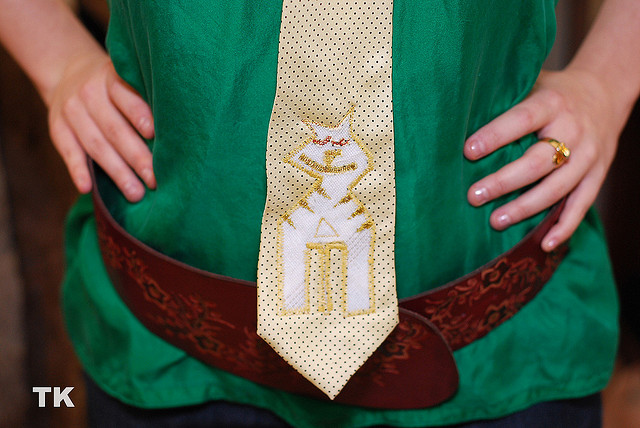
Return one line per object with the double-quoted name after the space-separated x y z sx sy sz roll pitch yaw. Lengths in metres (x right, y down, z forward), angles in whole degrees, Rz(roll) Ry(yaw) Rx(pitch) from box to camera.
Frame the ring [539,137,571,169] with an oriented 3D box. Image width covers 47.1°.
0.526 -0.141 1.657 0.049 0.027 0.067 -8 53 -52 "ring"
